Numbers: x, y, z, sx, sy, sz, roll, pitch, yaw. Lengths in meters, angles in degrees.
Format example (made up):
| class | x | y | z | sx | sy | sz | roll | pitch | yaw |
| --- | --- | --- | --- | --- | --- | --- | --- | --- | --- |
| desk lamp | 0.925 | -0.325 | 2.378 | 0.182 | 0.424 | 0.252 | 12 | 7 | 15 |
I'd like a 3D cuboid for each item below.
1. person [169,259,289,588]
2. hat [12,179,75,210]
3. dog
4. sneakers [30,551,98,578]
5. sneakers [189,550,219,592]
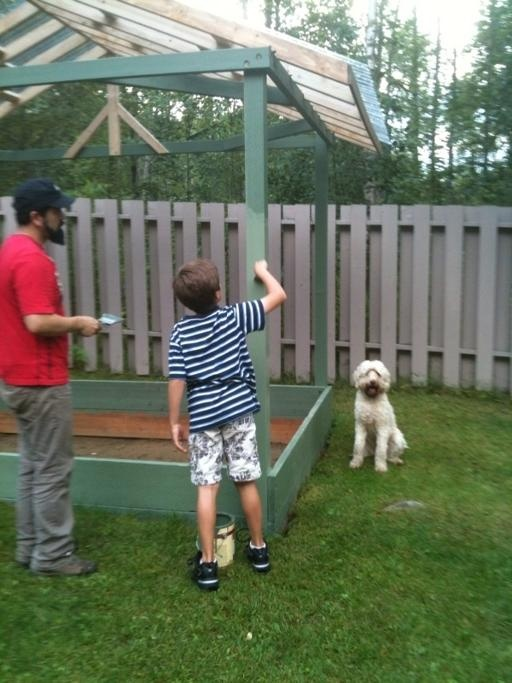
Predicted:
| class | x | y | z | sx | sy | sz | roll | pitch | yaw |
| --- | --- | --- | --- | --- | --- | --- | --- | --- | --- |
| person | -0.121 | 0.328 | 2.904 | 0.482 | 1.350 | 0.318 | -4 | 10 | -31 |
| hat | -0.889 | -0.615 | 2.858 | 0.196 | 0.104 | 0.135 | -11 | 23 | -24 |
| dog | 0.816 | 0.471 | 4.488 | 0.361 | 0.699 | 0.461 | 3 | 9 | 12 |
| sneakers | -0.817 | 0.979 | 2.930 | 0.294 | 0.129 | 0.105 | 0 | -1 | -8 |
| sneakers | -0.206 | 0.965 | 2.811 | 0.064 | 0.086 | 0.189 | 0 | 0 | -9 |
